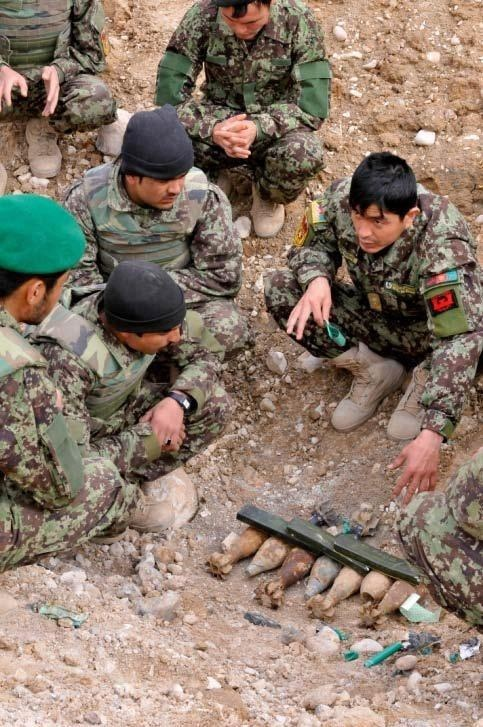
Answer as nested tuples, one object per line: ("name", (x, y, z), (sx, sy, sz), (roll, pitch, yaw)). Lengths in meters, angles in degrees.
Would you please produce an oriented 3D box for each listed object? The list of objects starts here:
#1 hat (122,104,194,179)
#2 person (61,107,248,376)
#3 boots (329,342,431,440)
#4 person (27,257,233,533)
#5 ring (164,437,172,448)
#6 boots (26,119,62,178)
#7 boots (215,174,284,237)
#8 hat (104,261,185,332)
("hat", (-0.376, -0.948, 3.121), (0.257, 0.268, 0.338), (-14, 40, -11))
("person", (-0.481, -0.572, 3.352), (1.080, 1.157, 0.707), (-3, 48, -12))
("boots", (0.667, 0.156, 3.515), (0.546, 0.308, 0.261), (0, -5, 27))
("person", (-0.450, 0.137, 2.806), (0.608, 1.025, 0.690), (32, 66, 12))
("ring", (-0.318, 0.343, 3.072), (0.025, 0.018, 0.031), (0, 69, 4))
("boots", (-1.269, -1.364, 4.608), (0.202, 0.380, 0.154), (-10, -8, -7))
("boots", (0.063, -1.007, 4.494), (0.369, 0.466, 0.176), (-16, -17, 26))
("hat", (-0.368, -0.217, 2.701), (0.289, 0.211, 0.265), (-4, 53, -9))
